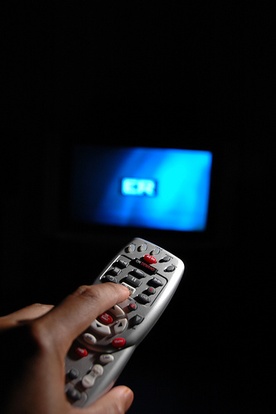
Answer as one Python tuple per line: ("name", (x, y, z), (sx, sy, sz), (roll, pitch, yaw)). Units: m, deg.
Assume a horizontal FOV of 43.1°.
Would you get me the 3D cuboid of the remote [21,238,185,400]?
("remote", (-0.020, 0.152, 0.485), (0.088, 0.053, 0.230), (28, 52, 6))
